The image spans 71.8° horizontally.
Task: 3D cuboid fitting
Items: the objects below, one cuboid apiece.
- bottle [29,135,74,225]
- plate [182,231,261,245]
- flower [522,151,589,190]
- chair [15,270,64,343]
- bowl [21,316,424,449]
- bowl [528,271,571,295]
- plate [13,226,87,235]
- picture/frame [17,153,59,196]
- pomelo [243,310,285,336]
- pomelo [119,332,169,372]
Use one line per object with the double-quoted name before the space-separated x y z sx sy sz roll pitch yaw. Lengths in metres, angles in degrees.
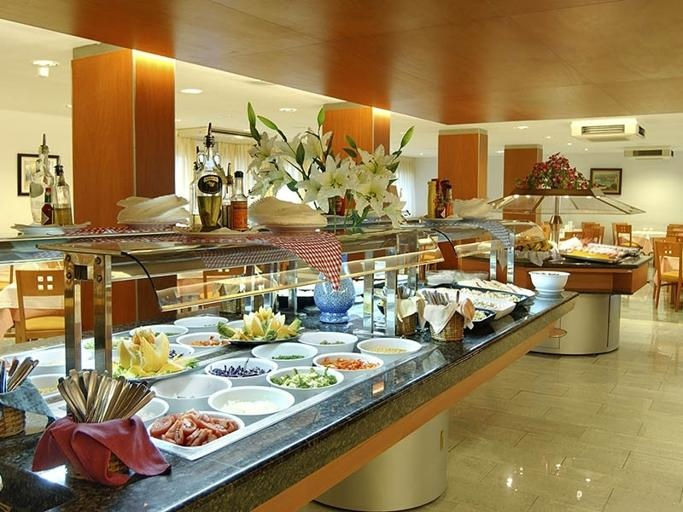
"bottle" -1.022 -0.237 1.657 0.072 0.352 0.174 10 10 41
"plate" -0.343 -0.059 1.381 0.219 0.033 0.164 2 8 -22
"flower" 2.390 -0.881 5.191 0.858 0.453 0.520 4 7 33
"chair" -2.626 0.573 4.164 0.491 0.622 0.385 2 5 -28
"bowl" -0.304 0.414 1.655 0.626 0.104 1.221 10 9 35
"bowl" 1.421 0.176 3.334 0.237 0.095 0.216 0 2 0
"plate" -0.860 -0.083 1.429 0.099 0.023 0.218 9 9 30
"picture/frame" -5.660 -1.516 8.872 0.812 0.782 0.055 2 4 5
"pomelo" -0.337 0.288 2.110 0.123 0.068 0.134 1 4 7
"pomelo" -0.680 0.329 1.642 0.159 0.152 0.178 0 1 -10
